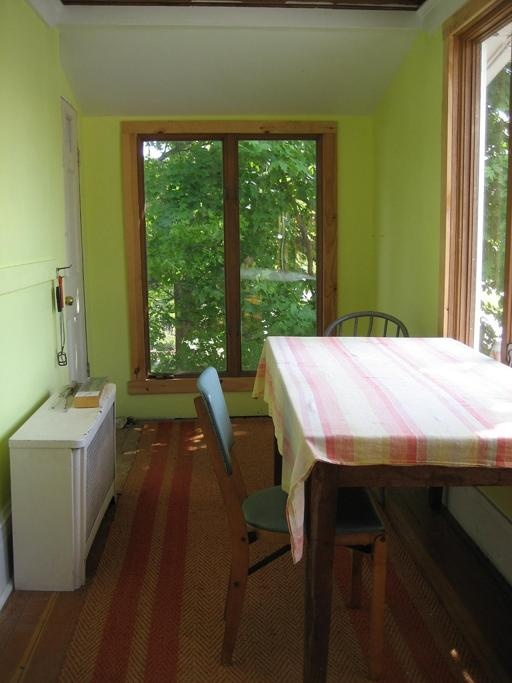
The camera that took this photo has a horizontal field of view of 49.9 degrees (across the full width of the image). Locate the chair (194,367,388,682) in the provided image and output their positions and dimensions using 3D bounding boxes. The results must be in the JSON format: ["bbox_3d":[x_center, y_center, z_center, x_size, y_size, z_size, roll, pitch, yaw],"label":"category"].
[{"bbox_3d":[0.054,0.406,1.697,0.657,1.063,0.547,-2,6,2],"label":"chair"}]

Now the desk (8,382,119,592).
[{"bbox_3d":[-0.671,0.508,1.891,0.192,0.433,0.578,-1,9,-4],"label":"desk"}]
